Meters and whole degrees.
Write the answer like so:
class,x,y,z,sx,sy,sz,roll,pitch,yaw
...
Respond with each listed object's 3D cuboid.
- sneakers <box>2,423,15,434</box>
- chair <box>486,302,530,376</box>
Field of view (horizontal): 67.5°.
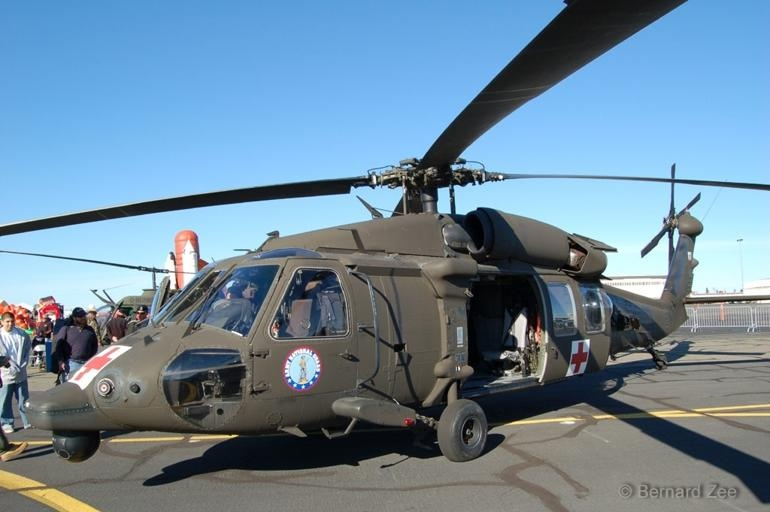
class,x,y,z,sx,sy,sz,roll,pitch,yaw
sneakers,-6.848,3.132,10.493,0.327,0.086,0.228,-5,-9,44
chair,2.318,1.622,11.267,0.919,1.240,0.899,3,-5,-39
